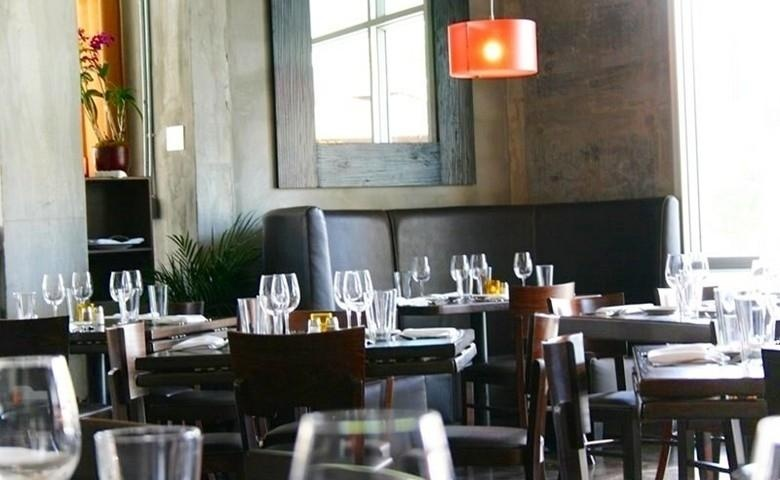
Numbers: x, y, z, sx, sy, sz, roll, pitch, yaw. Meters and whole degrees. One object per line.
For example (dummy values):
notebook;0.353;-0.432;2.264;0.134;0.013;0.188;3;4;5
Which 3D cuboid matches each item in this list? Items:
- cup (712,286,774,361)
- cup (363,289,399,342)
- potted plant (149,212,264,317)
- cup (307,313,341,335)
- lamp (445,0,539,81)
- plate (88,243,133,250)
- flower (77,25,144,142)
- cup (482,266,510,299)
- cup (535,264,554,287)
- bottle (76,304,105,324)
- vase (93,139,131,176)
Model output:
cup;1.436;0.350;3.108;0.272;0.311;0.274;0;-8;0
cup;-0.003;0.376;3.780;0.204;0.315;0.208;-1;-4;0
potted plant;-1.284;0.230;5.669;0.718;0.825;0.713;-9;-10;39
cup;-0.313;0.392;3.577;0.106;0.066;0.163;0;1;1
lamp;0.693;-1.267;5.047;0.430;0.509;0.459;0;-8;-3
plate;-2.052;0.052;5.526;0.309;0.062;0.141;-5;3;-28
flower;-2.217;-1.226;5.946;0.441;1.007;0.930;-5;3;-22
cup;0.775;0.308;5.315;0.210;0.267;0.179;1;-1;-25
cup;1.078;0.245;5.223;0.129;0.208;0.132;0;-12;0
bottle;-1.795;0.441;4.517;0.142;0.171;0.148;0;-1;11
vase;-2.129;-0.632;5.735;0.230;0.207;0.225;1;-10;-7
